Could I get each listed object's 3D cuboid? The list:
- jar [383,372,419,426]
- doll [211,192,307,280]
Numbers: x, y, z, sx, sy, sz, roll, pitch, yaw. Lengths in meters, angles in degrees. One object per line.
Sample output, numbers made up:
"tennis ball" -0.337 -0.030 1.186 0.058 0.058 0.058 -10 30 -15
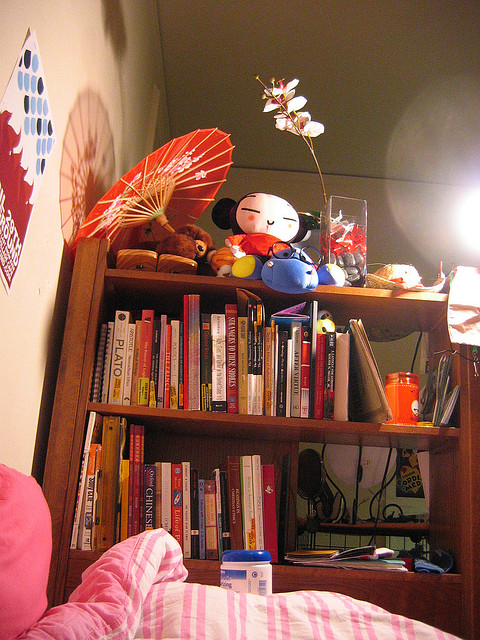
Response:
"jar" 0.380 0.189 1.233 0.063 0.121 0.074 7 -26 -6
"doll" 0.059 -0.181 1.345 0.241 0.300 0.210 -2 2 -18
